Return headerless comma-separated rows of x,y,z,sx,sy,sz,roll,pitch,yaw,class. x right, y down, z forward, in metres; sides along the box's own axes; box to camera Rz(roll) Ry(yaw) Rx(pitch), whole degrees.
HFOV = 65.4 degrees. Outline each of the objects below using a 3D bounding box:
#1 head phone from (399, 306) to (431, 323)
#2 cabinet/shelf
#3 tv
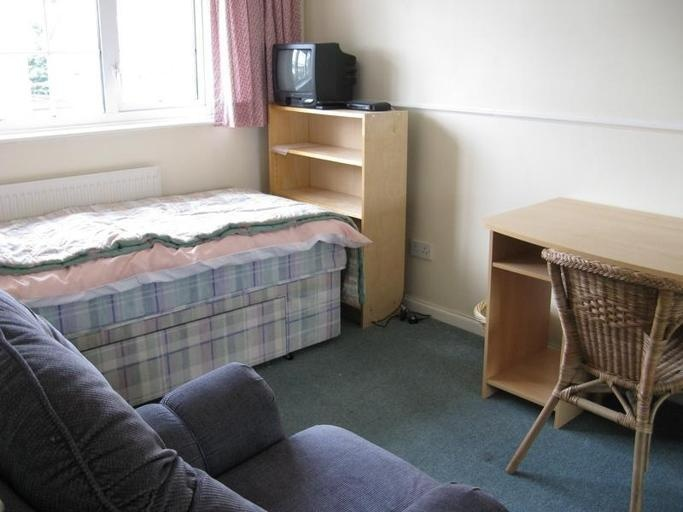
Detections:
0.474,0.374,3.476,0.148,0.054,0.111,-2,16,-13,head phone
0.007,-0.211,3.231,0.397,1.411,1.084,-11,21,-32,cabinet/shelf
-0.153,-1.144,3.531,0.466,0.415,0.480,-14,24,-34,tv
